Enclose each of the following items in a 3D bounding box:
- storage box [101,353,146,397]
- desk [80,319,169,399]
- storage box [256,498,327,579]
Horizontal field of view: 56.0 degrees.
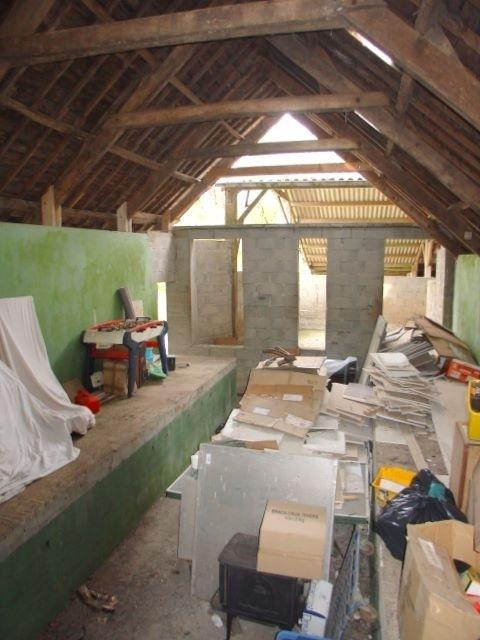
[{"bbox_3d":[-1.238,0.487,4.870,0.295,0.552,0.572,2,4,11],"label":"storage box"},{"bbox_3d":[-1.217,0.364,5.023,0.609,0.730,0.972,2,7,15],"label":"desk"},{"bbox_3d":[0.252,1.031,2.113,0.286,0.176,0.341,-1,10,14],"label":"storage box"}]
